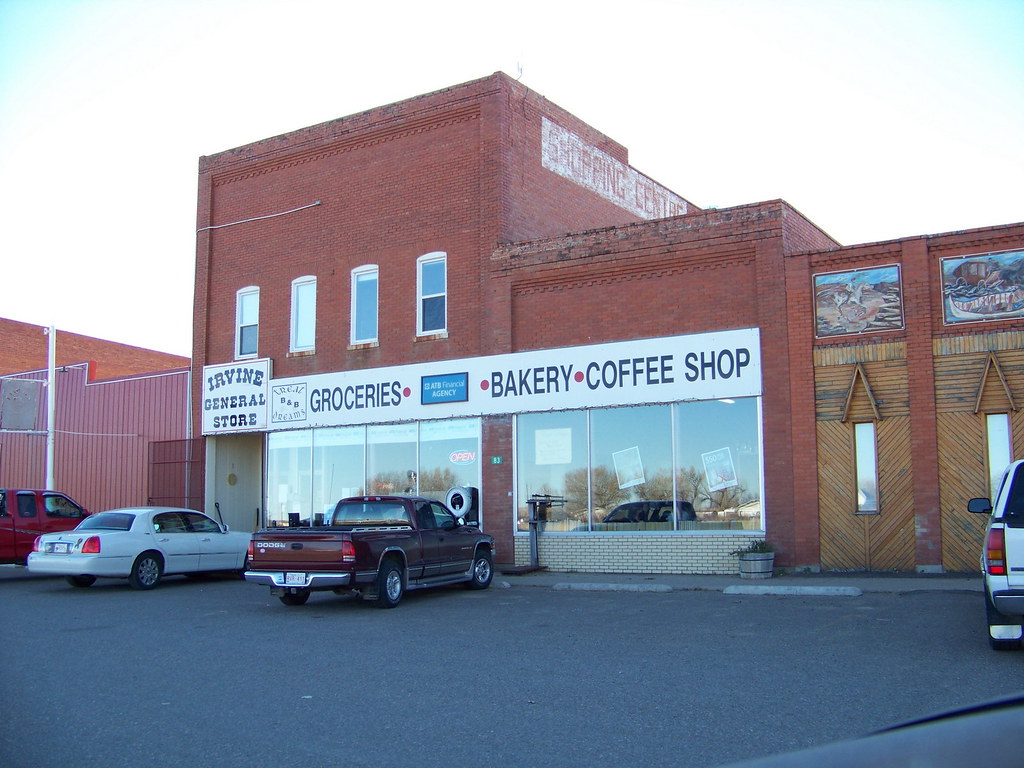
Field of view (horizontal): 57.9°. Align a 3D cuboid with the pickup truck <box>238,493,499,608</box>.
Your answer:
[{"bbox_3d":[-2.312,3.029,17.581,2.035,1.493,4.187,-3,-5,32],"label":"pickup truck"}]
